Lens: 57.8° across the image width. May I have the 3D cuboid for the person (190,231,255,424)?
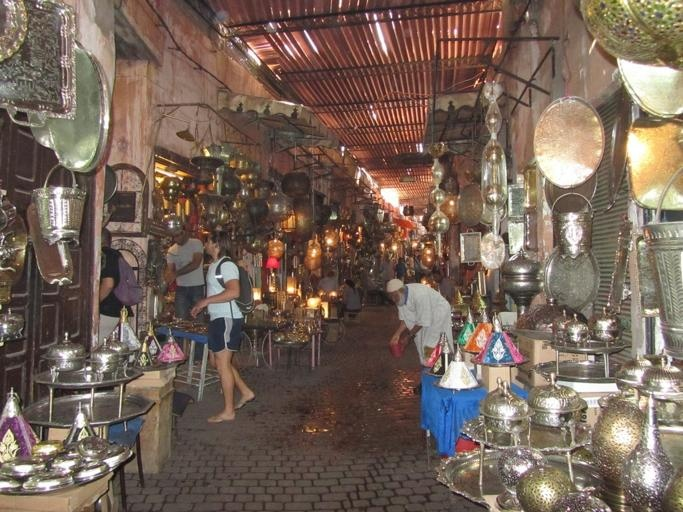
[{"bbox_3d":[-1.178,0.653,5.961,0.457,1.768,0.676,1,1,-9],"label":"person"}]

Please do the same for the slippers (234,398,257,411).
[{"bbox_3d":[-0.999,1.522,6.369,0.174,0.078,0.064,-21,-5,-28],"label":"slippers"}]

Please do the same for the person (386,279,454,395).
[{"bbox_3d":[0.834,0.627,6.394,0.847,1.362,0.615,-6,-3,10],"label":"person"}]
